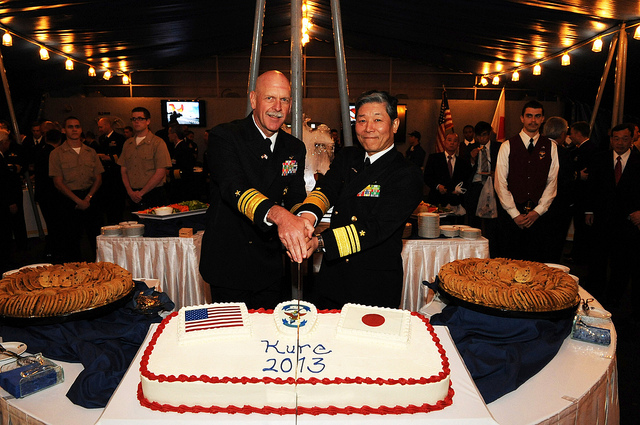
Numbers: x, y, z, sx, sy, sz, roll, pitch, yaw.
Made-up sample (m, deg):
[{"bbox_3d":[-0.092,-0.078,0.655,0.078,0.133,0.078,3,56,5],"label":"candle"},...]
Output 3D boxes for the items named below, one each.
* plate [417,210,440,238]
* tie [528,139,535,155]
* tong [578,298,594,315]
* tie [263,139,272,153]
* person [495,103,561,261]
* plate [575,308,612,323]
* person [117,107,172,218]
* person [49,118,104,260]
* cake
[{"bbox_3d":[0.988,0.122,4.574,0.209,0.228,0.209,0,0,1],"label":"plate"},{"bbox_3d":[2.083,-0.639,4.951,0.064,0.126,0.026,2,-8,10],"label":"tie"},{"bbox_3d":[1.687,0.605,3.187,0.039,0.078,0.047,-30,41,1],"label":"tong"},{"bbox_3d":[-0.352,-0.449,3.384,0.061,0.086,0.021,-3,0,-33],"label":"tie"},{"bbox_3d":[2.069,-0.272,5.021,0.608,1.620,0.445,4,15,17],"label":"person"},{"bbox_3d":[1.686,0.642,3.098,0.184,0.068,0.121,1,1,12],"label":"plate"},{"bbox_3d":[-2.018,-0.583,5.752,0.561,1.213,0.603,-7,16,-22],"label":"person"},{"bbox_3d":[-2.981,-0.149,6.187,0.640,1.529,0.352,-7,16,-21],"label":"person"},{"bbox_3d":[-0.129,0.782,2.587,1.359,0.230,0.617,0,18,0],"label":"cake"}]
